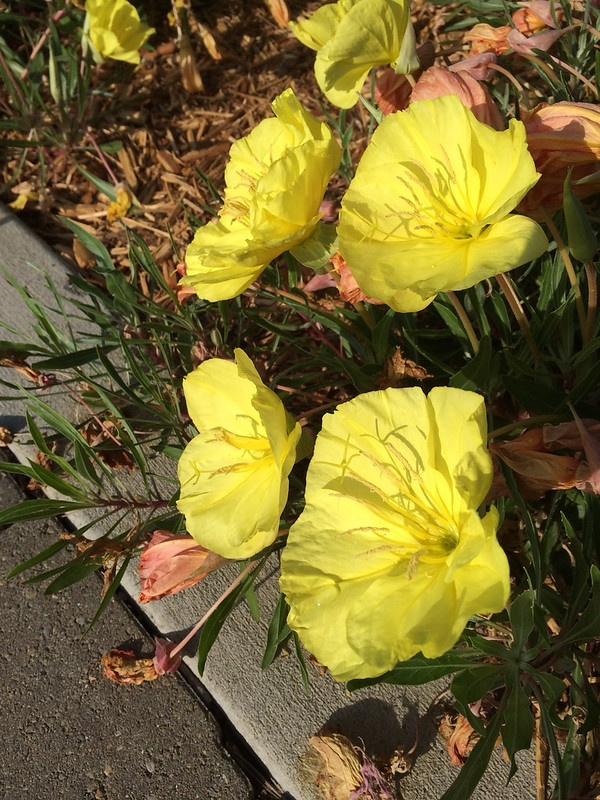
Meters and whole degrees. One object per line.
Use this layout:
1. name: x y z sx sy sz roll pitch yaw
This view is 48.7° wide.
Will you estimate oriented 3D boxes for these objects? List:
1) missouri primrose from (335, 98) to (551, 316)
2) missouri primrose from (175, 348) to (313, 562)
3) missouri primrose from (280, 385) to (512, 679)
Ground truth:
1. missouri primrose: 0.153 -0.215 0.710 0.166 0.207 0.229 22 39 -15
2. missouri primrose: -0.077 0.070 0.873 0.111 0.217 0.262 7 67 -33
3. missouri primrose: 0.132 0.135 0.687 0.139 0.255 0.294 22 58 -11
